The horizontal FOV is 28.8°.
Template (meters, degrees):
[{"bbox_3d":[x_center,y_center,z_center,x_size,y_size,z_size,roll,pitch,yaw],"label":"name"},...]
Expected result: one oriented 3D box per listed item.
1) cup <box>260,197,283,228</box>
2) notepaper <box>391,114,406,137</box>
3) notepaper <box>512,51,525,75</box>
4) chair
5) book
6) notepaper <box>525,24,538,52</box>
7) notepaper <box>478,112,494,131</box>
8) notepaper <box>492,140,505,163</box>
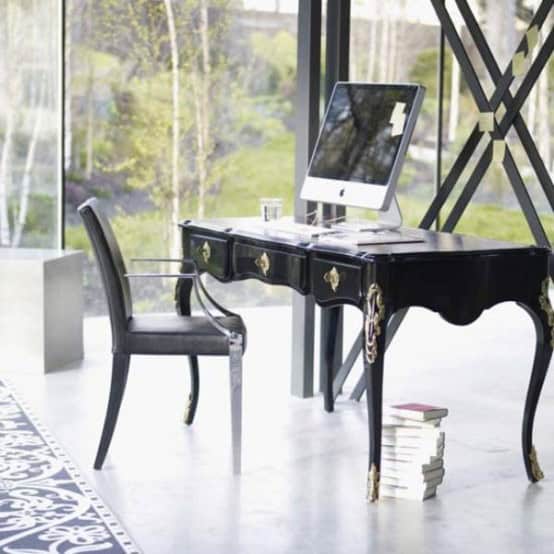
[{"bbox_3d":[-0.023,-0.264,4.428,0.075,0.102,0.092,0,7,-3],"label":"cup"},{"bbox_3d":[0.460,-0.569,4.057,0.007,0.098,0.075,7,-4,-34],"label":"notepaper"},{"bbox_3d":[0.995,-0.880,4.430,0.005,0.131,0.107,-3,7,-18],"label":"notepaper"},{"bbox_3d":[-0.426,0.180,4.200,0.557,1.014,0.611,-1,5,4],"label":"chair"},{"bbox_3d":[0.487,0.599,3.901,0.234,0.432,0.275,1,-1,33],"label":"book"},{"bbox_3d":[1.043,-0.970,4.394,0.049,0.107,0.165,3,10,13],"label":"notepaper"},{"bbox_3d":[0.894,-0.659,4.585,0.015,0.079,0.069,-6,12,-27],"label":"notepaper"},{"bbox_3d":[0.940,-0.533,4.544,0.011,0.116,0.072,-3,9,-22],"label":"notepaper"}]
